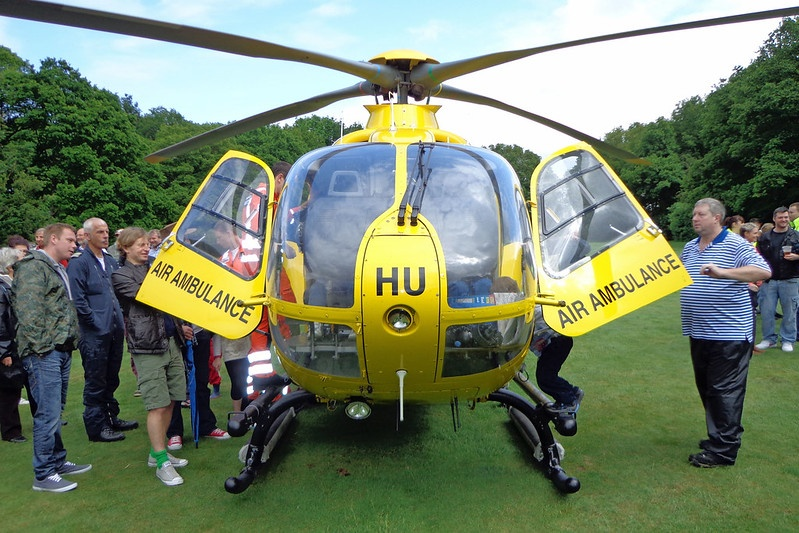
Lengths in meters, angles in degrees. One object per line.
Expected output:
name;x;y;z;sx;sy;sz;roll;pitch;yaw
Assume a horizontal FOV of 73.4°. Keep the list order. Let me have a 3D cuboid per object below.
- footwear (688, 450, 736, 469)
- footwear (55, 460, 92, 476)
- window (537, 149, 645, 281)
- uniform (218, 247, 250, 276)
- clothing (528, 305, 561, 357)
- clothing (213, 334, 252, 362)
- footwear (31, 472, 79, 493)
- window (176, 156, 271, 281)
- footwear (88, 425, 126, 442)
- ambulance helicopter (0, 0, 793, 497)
footwear;3.319;2.067;5.748;0.425;0.181;0.172;6;-3;7
footwear;-3.538;2.193;5.858;0.324;0.102;0.110;1;14;-12
window;2.013;-0.468;5.878;1.063;1.373;0.390;-29;-28;4
uniform;-1.700;-0.046;5.595;0.249;0.297;0.108;-38;6;-16
clothing;1.468;0.626;5.661;0.424;0.485;0.274;14;35;16
clothing;-1.971;0.966;6.340;0.315;0.259;0.414;2;-5;-25
footwear;-3.582;2.275;5.667;0.466;0.157;0.173;0;-1;-3
window;-1.897;-0.468;6.005;0.980;1.289;0.403;23;-12;-15
footwear;-3.527;2.018;6.529;0.498;0.182;0.154;-3;2;4
ambulance helicopter;-0.499;-0.110;7.634;5.637;2.981;6.202;0;0;-1
